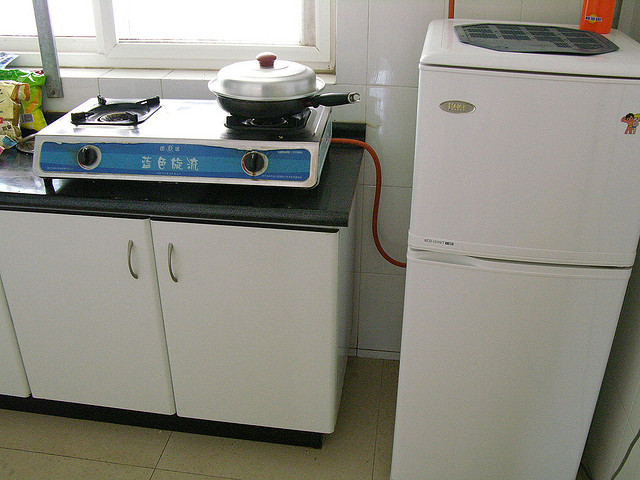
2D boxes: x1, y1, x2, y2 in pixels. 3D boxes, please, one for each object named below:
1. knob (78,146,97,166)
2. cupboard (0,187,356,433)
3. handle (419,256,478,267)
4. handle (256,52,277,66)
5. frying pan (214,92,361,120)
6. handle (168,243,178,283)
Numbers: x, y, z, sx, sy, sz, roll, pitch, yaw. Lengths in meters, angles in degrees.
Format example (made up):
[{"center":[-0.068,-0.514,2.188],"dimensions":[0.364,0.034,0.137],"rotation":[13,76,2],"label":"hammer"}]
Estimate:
[{"center":[-0.743,-0.273,1.698],"dimensions":[0.053,0.056,0.040],"rotation":[2,17,13],"label":"knob"},{"center":[-0.450,0.402,2.328],"dimensions":[1.454,1.036,0.840],"rotation":[4,29,9],"label":"cupboard"},{"center":[0.378,0.063,1.571],"dimensions":[0.139,0.015,0.025],"rotation":[6,31,12],"label":"handle"},{"center":[-0.180,-0.607,1.749],"dimensions":[0.061,0.035,0.071],"rotation":[-4,33,-4],"label":"handle"},{"center":[-0.126,-0.441,1.719],"dimensions":[0.263,0.047,0.181],"rotation":[0,25,-1],"label":"frying pan"},{"center":[-0.491,0.080,1.759],"dimensions":[0.027,0.140,0.034],"rotation":[-8,32,-10],"label":"handle"}]
